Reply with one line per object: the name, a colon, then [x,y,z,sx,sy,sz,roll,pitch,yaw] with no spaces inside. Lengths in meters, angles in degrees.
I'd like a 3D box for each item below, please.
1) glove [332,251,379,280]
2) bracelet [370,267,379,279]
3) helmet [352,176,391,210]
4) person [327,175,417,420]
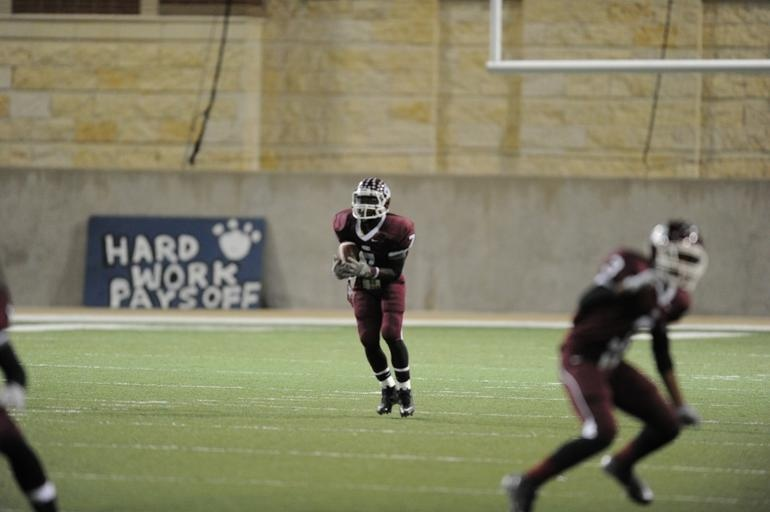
glove: [-0.336,0.081,14.789,0.333,0.159,0.275,6,7,-10]
bracelet: [-0.102,0.175,14.808,0.082,0.101,0.097,10,-1,5]
helmet: [-0.138,-0.708,15.121,0.314,0.334,0.412,-2,-12,21]
person: [-0.112,0.432,14.934,0.861,2.535,0.608,0,8,0]
